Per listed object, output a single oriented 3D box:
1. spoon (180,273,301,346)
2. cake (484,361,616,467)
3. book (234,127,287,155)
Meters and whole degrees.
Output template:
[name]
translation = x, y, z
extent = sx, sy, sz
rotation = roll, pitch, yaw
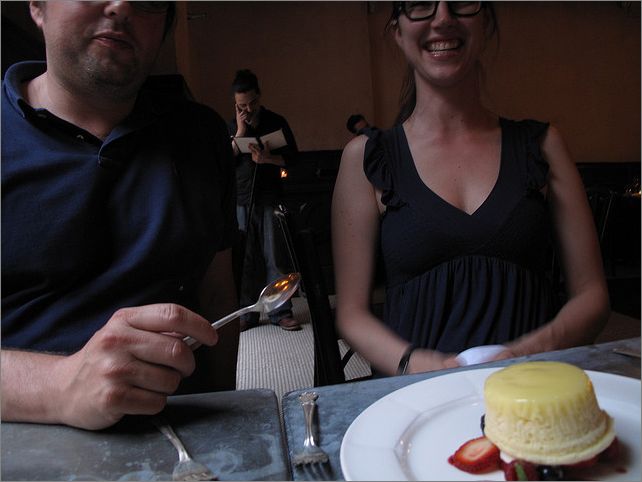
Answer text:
[spoon]
translation = -0.156, 0.153, 1.144
extent = 0.173, 0.123, 0.357
rotation = 2, 15, 15
[cake]
translation = 0.373, 0.279, 0.823
extent = 0.155, 0.082, 0.163
rotation = -11, 17, -3
[book]
translation = -0.467, -0.680, 3.651
extent = 0.282, 0.177, 0.573
rotation = -11, 17, -34
